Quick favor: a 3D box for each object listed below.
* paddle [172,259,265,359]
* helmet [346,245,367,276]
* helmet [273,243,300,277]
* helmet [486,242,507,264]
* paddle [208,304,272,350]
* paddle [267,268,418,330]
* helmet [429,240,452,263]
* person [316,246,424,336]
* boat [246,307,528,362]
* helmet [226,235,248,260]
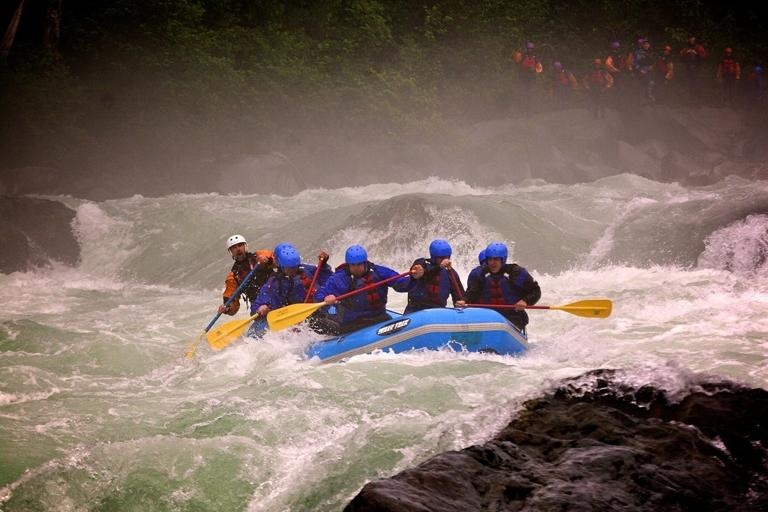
[{"bbox_3d":[-2.869,0.953,12.663,2.366,0.265,0.180,-40,-6,-8],"label":"paddle"},{"bbox_3d":[-0.397,0.022,10.913,0.359,0.437,0.433,-5,13,4],"label":"helmet"},{"bbox_3d":[-1.522,0.007,11.406,0.417,0.439,0.489,-8,28,-17],"label":"helmet"},{"bbox_3d":[1.700,-0.073,10.978,0.305,0.242,0.307,6,26,10],"label":"helmet"},{"bbox_3d":[-2.199,1.090,11.319,1.268,0.343,0.088,-27,-14,-17],"label":"paddle"},{"bbox_3d":[-0.669,0.652,10.964,3.049,0.388,0.191,-15,-7,4],"label":"paddle"},{"bbox_3d":[0.856,-0.090,11.073,0.311,0.259,0.367,-1,5,-13],"label":"helmet"},{"bbox_3d":[-0.173,0.838,11.048,1.347,1.939,0.725,-16,24,-4],"label":"person"},{"bbox_3d":[0.352,1.170,10.560,2.173,0.370,1.221,-11,-8,21],"label":"boat"},{"bbox_3d":[-2.384,-0.157,11.883,0.305,0.362,0.218,6,-3,-17],"label":"helmet"}]
